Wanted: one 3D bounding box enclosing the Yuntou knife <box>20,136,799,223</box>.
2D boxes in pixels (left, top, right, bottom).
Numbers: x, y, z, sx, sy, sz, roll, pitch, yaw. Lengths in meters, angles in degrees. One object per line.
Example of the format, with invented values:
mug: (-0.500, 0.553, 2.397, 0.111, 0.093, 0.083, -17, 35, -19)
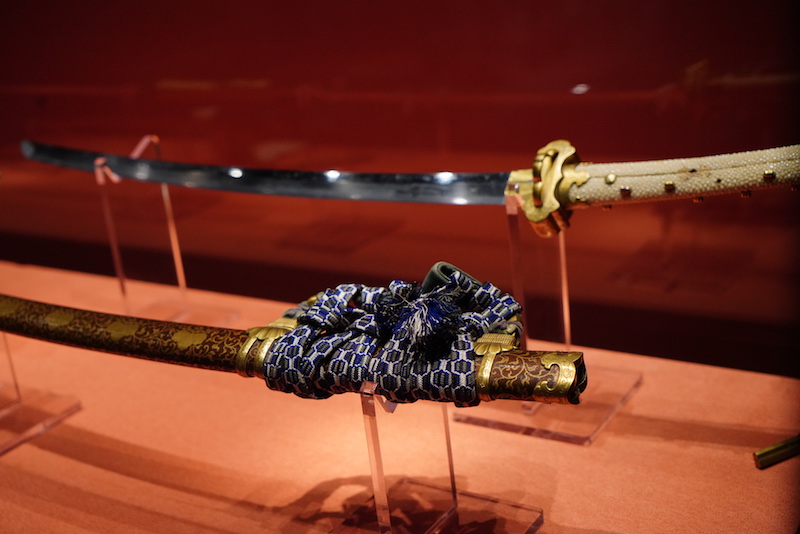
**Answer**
Yuntou knife: (0.090, -0.374, 2.766, 2.865, 0.319, 0.396, 2, 12, 35)
